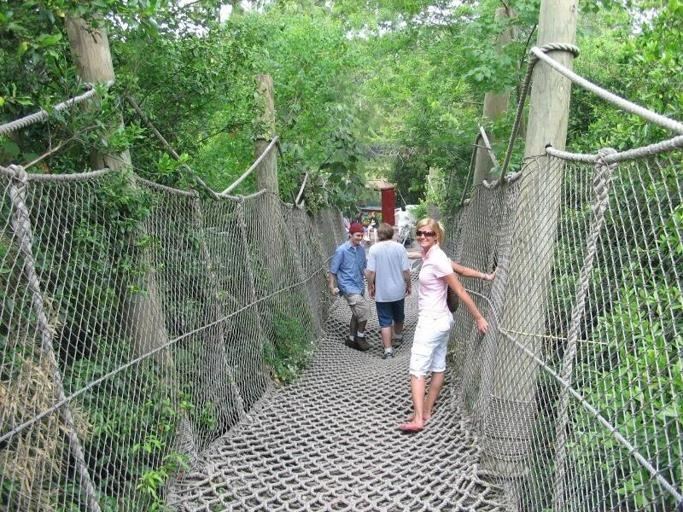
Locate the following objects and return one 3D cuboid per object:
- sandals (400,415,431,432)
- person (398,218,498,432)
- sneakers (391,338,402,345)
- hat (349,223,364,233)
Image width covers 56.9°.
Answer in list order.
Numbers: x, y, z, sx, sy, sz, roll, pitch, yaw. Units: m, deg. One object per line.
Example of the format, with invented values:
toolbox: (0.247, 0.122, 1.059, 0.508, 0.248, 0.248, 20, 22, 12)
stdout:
sandals: (0.676, 1.528, 5.863, 0.262, 0.140, 0.368, 1, 5, 13)
person: (0.931, 0.614, 5.971, 0.772, 1.927, 1.354, 0, 5, 4)
sneakers: (0.834, 1.278, 9.427, 0.069, 0.079, 0.123, -1, -21, -11)
hat: (0.233, -0.437, 9.602, 0.163, 0.140, 0.167, 13, 12, 43)
